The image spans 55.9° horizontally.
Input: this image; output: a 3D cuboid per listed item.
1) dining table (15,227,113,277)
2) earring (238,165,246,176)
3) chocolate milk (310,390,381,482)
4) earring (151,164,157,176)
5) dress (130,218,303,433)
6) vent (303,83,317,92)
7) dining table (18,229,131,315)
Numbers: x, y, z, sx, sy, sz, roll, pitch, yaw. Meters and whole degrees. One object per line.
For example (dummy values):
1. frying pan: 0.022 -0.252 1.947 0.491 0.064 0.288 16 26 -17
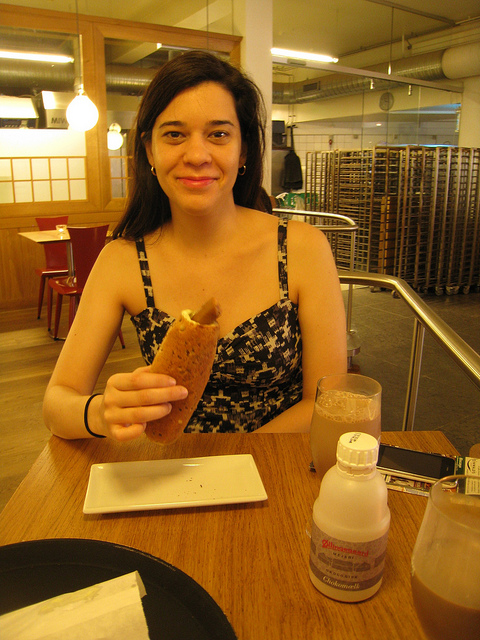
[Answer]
1. dining table: -1.591 -0.541 4.214 0.670 0.369 0.688 0 8 -18
2. earring: 0.007 -0.445 1.342 0.021 0.024 0.039 1 5 -14
3. chocolate milk: 0.136 0.140 0.622 0.097 0.119 0.099 3 11 -12
4. earring: -0.244 -0.420 1.280 0.013 0.014 0.006 -11 -3 27
5. dress: 0.075 -0.039 1.335 0.601 0.760 0.419 -5 10 -11
6. vent: 1.352 -4.548 8.841 0.215 0.136 0.045 4 18 29
7. dining table: -1.621 -0.593 4.503 1.111 1.181 1.024 1 2 -19
